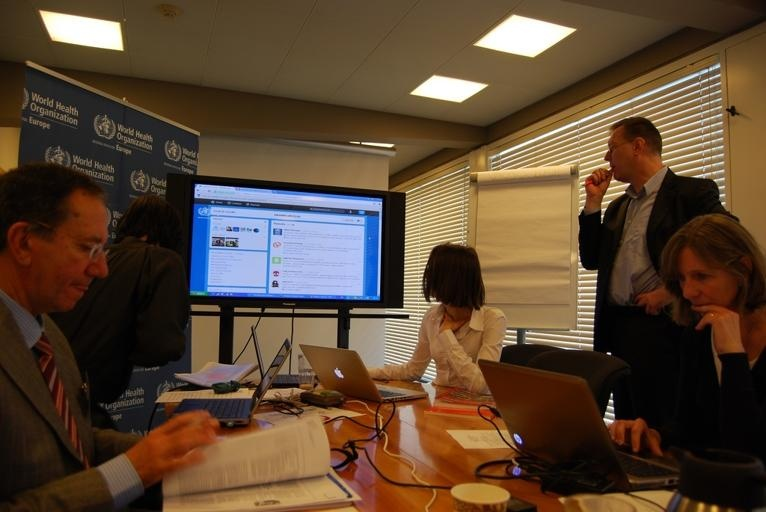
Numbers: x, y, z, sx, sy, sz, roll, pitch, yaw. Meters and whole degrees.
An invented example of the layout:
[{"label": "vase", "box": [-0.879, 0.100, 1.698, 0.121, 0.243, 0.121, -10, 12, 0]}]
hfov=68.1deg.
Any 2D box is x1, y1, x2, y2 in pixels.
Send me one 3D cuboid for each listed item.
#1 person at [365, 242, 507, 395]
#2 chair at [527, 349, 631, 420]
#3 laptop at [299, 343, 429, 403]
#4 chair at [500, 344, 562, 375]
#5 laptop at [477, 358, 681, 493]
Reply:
[{"label": "person", "box": [0.352, 0.391, 3.409, 0.738, 1.182, 0.828, 9, -14, -27]}, {"label": "chair", "box": [0.705, 0.417, 2.110, 0.320, 0.336, 0.303, -13, -29, 44]}, {"label": "laptop", "box": [-0.102, 0.461, 2.592, 0.329, 0.200, 0.367, 0, -2, -39]}, {"label": "chair", "box": [0.687, 0.524, 2.706, 0.240, 0.208, 0.194, -13, -14, 39]}, {"label": "laptop", "box": [0.632, 0.455, 1.785, 0.413, 0.266, 0.429, 0, -1, -29]}]
